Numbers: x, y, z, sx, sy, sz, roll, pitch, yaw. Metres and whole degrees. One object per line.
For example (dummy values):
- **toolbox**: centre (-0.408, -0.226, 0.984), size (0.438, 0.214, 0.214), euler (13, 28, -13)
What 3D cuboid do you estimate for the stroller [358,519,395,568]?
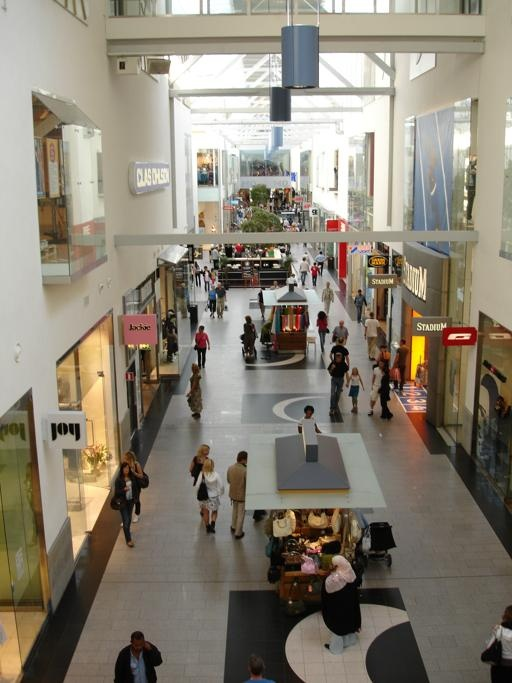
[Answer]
- **stroller**: centre (1.542, 2.603, 6.714), size (0.343, 0.729, 0.596), euler (1, 11, 3)

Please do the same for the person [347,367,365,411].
- **person**: centre (2.427, 1.156, 12.663), size (0.374, 1.202, 0.280), euler (-2, 19, 5)

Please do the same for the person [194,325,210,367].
- **person**: centre (-1.697, 0.070, 15.860), size (0.397, 1.424, 0.401), euler (2, 32, -5)

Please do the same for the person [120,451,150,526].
- **person**: centre (-1.783, 2.206, 7.265), size (0.362, 1.321, 0.342), euler (0, 11, -20)

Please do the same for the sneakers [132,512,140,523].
- **sneakers**: centre (-1.900, 2.770, 8.061), size (0.052, 0.093, 0.176), euler (1, -1, 1)

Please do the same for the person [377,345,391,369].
- **person**: centre (3.103, 0.330, 12.448), size (0.258, 0.478, 1.039), euler (0, 5, 12)

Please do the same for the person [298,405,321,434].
- **person**: centre (0.942, 1.369, 9.017), size (0.335, 0.522, 1.234), euler (-12, -17, 3)

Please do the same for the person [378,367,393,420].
- **person**: centre (3.154, 1.215, 12.439), size (0.325, 1.320, 1.005), euler (0, 4, 16)

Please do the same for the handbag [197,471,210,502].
- **handbag**: centre (-0.772, 2.137, 7.416), size (0.135, 0.473, 0.220), euler (-4, 5, -44)

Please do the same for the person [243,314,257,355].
- **person**: centre (-0.228, -0.238, 17.160), size (0.479, 1.266, 1.252), euler (-1, 4, -2)

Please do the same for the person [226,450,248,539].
- **person**: centre (-0.272, 2.193, 7.265), size (0.257, 1.346, 0.850), euler (-1, 4, -3)

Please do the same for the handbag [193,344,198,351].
- **handbag**: centre (-1.890, 0.173, 15.896), size (0.127, 0.180, 0.271), euler (-2, -8, -2)

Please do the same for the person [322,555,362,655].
- **person**: centre (0.797, 2.444, 4.776), size (0.344, 1.057, 0.446), euler (0, 4, 12)

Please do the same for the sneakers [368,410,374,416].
- **sneakers**: centre (2.848, 1.770, 12.675), size (0.072, 0.145, 0.298), euler (-1, -7, 7)

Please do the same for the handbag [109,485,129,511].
- **handbag**: centre (-1.856, 2.148, 7.000), size (0.240, 0.434, 0.289), euler (-2, 4, -17)

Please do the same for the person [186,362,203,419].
- **person**: centre (-1.485, 1.186, 12.343), size (0.377, 1.430, 1.612), euler (-1, 4, -6)

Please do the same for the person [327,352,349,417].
- **person**: centre (2.040, 1.003, 12.691), size (0.460, 1.651, 1.822), euler (0, 5, 8)

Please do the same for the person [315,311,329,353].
- **person**: centre (2.388, -0.351, 18.374), size (0.332, 1.472, 1.098), euler (0, 4, 8)
